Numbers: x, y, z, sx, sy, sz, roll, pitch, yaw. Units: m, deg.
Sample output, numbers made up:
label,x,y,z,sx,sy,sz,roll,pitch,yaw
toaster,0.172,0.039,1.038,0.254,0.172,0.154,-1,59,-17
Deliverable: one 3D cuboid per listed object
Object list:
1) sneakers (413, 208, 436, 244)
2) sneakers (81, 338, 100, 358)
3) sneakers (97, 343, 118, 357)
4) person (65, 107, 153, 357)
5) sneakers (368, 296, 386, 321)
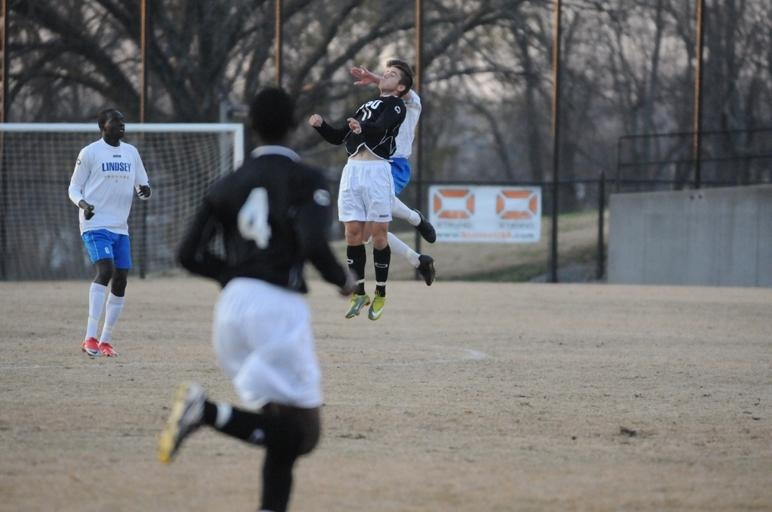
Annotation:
label,x,y,z,sx,sy,sz,roll,pitch,yaw
sneakers,0.649,-0.517,25.033,0.232,0.638,0.263,-43,-11,37
sneakers,-4.405,1.356,21.201,0.331,0.274,0.192,2,5,27
sneakers,-4.128,1.399,21.173,0.147,0.133,0.343,-13,25,-43
person,-4.135,-0.349,21.227,1.072,3.653,0.495,-1,4,-20
sneakers,-0.182,0.808,22.002,0.178,0.509,0.223,12,-12,8
